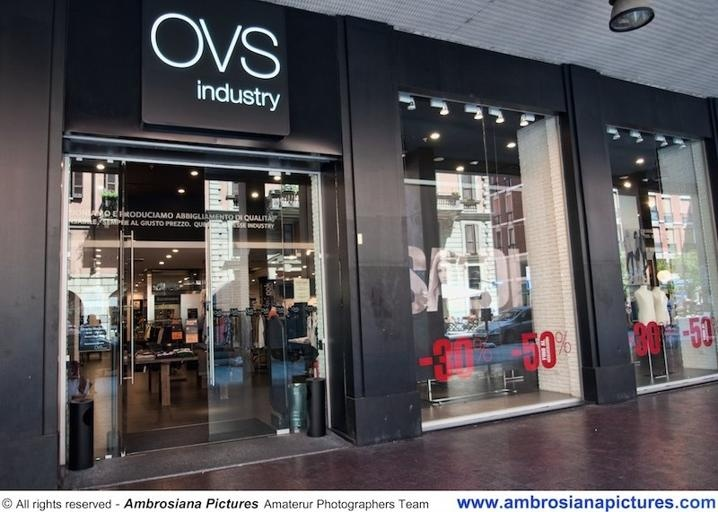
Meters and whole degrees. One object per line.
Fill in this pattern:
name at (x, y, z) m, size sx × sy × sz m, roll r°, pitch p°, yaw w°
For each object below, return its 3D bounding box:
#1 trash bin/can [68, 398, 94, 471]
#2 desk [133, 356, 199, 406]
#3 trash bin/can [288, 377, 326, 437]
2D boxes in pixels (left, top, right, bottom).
trash bin/can at (-3.232, 2.078, 6.771) m, size 0.274 × 0.779 × 0.125 m, roll -2°, pitch -3°, yaw -28°
desk at (-3.357, 1.959, 9.663) m, size 1.055 × 0.627 × 1.047 m, roll 0°, pitch 2°, yaw 8°
trash bin/can at (-0.687, 1.984, 7.728) m, size 0.497 × 0.740 × 0.270 m, roll -5°, pitch -3°, yaw 31°
